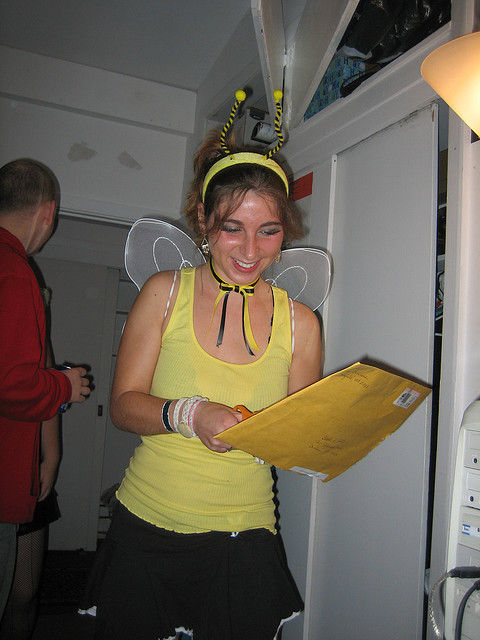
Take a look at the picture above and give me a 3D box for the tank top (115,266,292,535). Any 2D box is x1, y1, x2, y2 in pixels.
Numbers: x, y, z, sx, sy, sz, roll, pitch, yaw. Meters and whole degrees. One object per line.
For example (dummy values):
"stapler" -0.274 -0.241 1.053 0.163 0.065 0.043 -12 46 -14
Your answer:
"tank top" -0.038 0.152 0.930 0.253 0.506 0.179 9 -2 -3

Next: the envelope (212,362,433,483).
"envelope" 0.146 0.174 0.742 0.189 0.220 0.355 0 -5 44

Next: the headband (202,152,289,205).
"headband" 0.009 -0.296 0.984 0.181 0.107 0.099 3 -4 0
